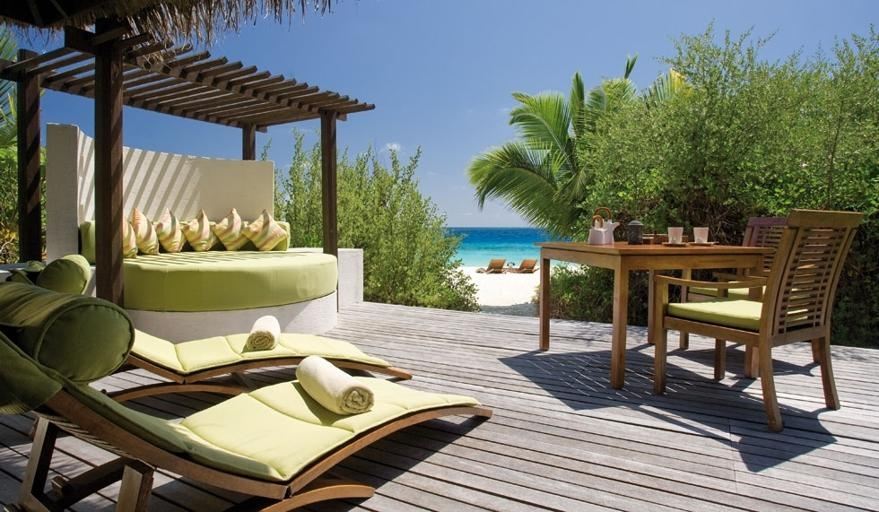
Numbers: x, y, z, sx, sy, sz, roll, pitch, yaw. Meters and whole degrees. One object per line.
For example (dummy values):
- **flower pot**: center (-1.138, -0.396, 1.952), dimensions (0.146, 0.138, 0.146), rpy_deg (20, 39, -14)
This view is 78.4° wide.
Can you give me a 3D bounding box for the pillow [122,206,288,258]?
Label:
- **pillow**: center (-3.390, -0.635, 7.656), dimensions (2.262, 0.688, 0.695), rpy_deg (-1, 2, -40)
